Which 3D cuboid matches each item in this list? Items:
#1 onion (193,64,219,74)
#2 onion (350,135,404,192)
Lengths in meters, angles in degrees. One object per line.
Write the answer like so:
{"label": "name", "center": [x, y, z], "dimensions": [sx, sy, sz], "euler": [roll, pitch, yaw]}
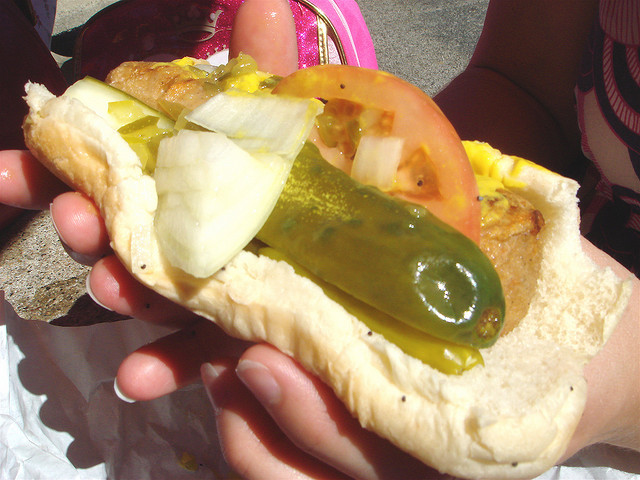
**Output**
{"label": "onion", "center": [-0.387, -0.584, 2.261], "dimensions": [0.070, 0.074, 0.039], "euler": [-2, 103, -29]}
{"label": "onion", "center": [0.146, -0.190, 1.681], "dimensions": [0.121, 0.039, 0.140], "euler": [5, 90, 11]}
